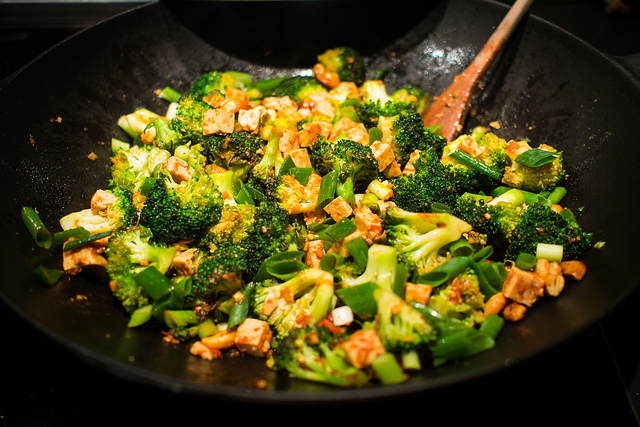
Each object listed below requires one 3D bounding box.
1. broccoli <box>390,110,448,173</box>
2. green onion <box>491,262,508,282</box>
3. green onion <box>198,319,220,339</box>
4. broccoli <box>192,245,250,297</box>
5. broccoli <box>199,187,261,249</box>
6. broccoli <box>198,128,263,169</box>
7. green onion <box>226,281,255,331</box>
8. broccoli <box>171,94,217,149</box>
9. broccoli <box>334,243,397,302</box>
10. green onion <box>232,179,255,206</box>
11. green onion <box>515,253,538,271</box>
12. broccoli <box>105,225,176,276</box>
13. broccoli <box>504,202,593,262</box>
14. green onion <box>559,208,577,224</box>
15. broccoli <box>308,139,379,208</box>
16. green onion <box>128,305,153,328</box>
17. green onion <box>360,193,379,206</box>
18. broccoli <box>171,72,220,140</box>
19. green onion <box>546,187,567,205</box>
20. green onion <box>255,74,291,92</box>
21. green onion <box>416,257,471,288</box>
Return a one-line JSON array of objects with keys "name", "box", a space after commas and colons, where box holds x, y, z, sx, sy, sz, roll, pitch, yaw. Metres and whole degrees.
[{"name": "broccoli", "box": [0.707, -0.549, 3.836, 0.398, 0.245, 0.442, 23, 88, -11]}, {"name": "green onion", "box": [1.178, 0.373, 3.304, 0.091, 0.093, 0.124, -11, 88, 7]}, {"name": "green onion", "box": [-0.731, 0.743, 3.256, 0.114, 0.067, 0.102, -25, 82, -3]}, {"name": "broccoli", "box": [-0.601, 0.362, 3.312, 0.319, 0.324, 0.228, -33, 103, 15]}, {"name": "broccoli", "box": [-0.574, 0.069, 3.358, 0.357, 0.133, 0.403, 4, 78, -10]}, {"name": "broccoli", "box": [-0.612, -0.523, 3.750, 0.432, 0.429, 0.243, 13, 106, -6]}, {"name": "green onion", "box": [-0.502, 0.608, 3.300, 0.102, 0.075, 0.341, 28, 69, -15]}, {"name": "broccoli", "box": [-0.969, -0.691, 3.701, 0.305, 0.113, 0.367, 5, 79, -5]}, {"name": "broccoli", "box": [0.357, 0.373, 3.169, 0.341, 0.092, 0.344, 2, 82, 13]}, {"name": "green onion", "box": [-0.537, -0.131, 3.510, 0.103, 0.053, 0.211, -37, 62, 21]}, {"name": "green onion", "box": [1.363, 0.316, 3.309, 0.120, 0.057, 0.105, 19, 82, 3]}, {"name": "broccoli", "box": [-1.173, 0.258, 3.317, 0.338, 0.146, 0.311, 3, 58, 0]}, {"name": "broccoli", "box": [1.516, 0.198, 3.352, 0.470, 0.157, 0.428, 28, 83, 4]}, {"name": "green onion", "box": [1.679, 0.014, 3.406, 0.068, 0.038, 0.102, -24, 70, -26]}, {"name": "broccoli", "box": [0.161, -0.262, 3.703, 0.480, 0.417, 0.490, 2, 48, -2]}, {"name": "green onion", "box": [-1.152, 0.653, 3.233, 0.076, 0.136, 0.044, 29, 51, -5]}, {"name": "green onion", "box": [0.336, -0.097, 3.488, 0.118, 0.091, 0.084, -19, 82, -2]}, {"name": "broccoli", "box": [-0.948, -0.814, 3.908, 0.353, 0.134, 0.534, 12, 66, 3]}, {"name": "green onion", "box": [1.668, -0.128, 3.523, 0.156, 0.056, 0.079, -41, 60, -5]}, {"name": "green onion", "box": [-0.407, -1.055, 4.193, 0.383, 0.039, 0.109, -18, 75, -9]}, {"name": "green onion", "box": [0.791, 0.370, 3.177, 0.365, 0.066, 0.105, -27, 83, -4]}]
